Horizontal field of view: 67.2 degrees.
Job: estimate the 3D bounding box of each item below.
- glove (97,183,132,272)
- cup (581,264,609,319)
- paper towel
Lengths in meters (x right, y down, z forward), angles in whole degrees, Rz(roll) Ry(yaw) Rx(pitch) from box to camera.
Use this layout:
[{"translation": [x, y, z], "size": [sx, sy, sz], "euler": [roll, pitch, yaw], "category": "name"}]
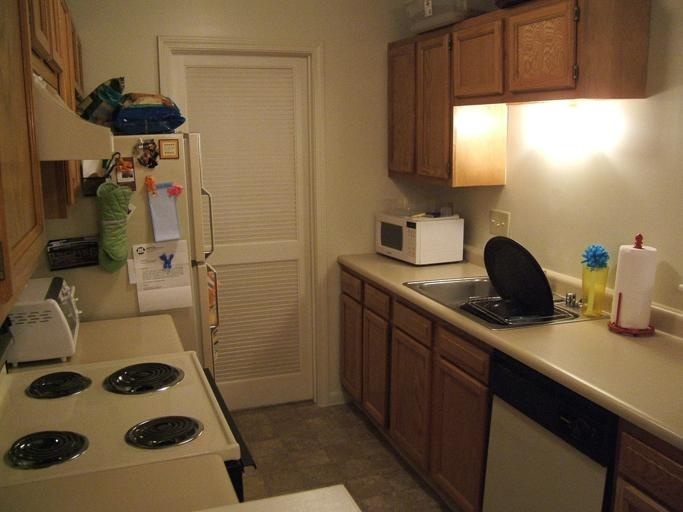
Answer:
[{"translation": [-1.128, -0.144, 2.583], "size": [0.178, 0.450, 0.091], "euler": [-6, 14, -23], "category": "glove"}, {"translation": [1.136, 0.157, 2.330], "size": [0.094, 0.233, 0.073], "euler": [5, 14, 24], "category": "cup"}, {"translation": [1.206, 0.132, 2.124], "size": [0.144, 0.347, 0.083], "euler": [6, 14, 27], "category": "paper towel"}]
